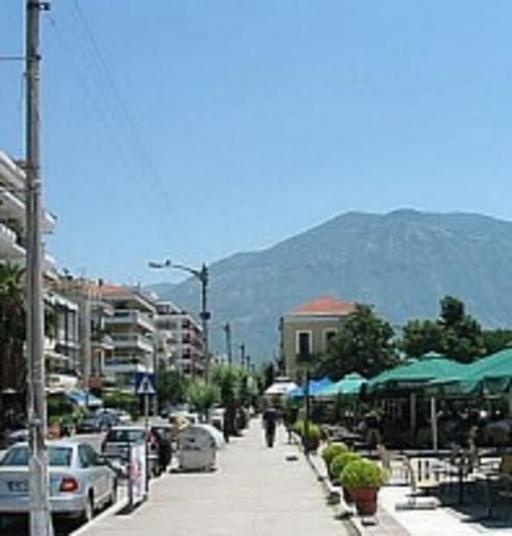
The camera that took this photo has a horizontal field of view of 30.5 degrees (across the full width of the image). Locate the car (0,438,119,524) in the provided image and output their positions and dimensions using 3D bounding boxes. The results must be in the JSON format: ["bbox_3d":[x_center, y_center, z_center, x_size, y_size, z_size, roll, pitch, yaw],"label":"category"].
[{"bbox_3d":[-3.211,3.634,16.103,0.893,0.943,2.477,-1,-5,2],"label":"car"}]

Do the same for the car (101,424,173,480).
[{"bbox_3d":[-3.070,4.578,24.881,1.217,1.376,2.395,1,2,3],"label":"car"}]
